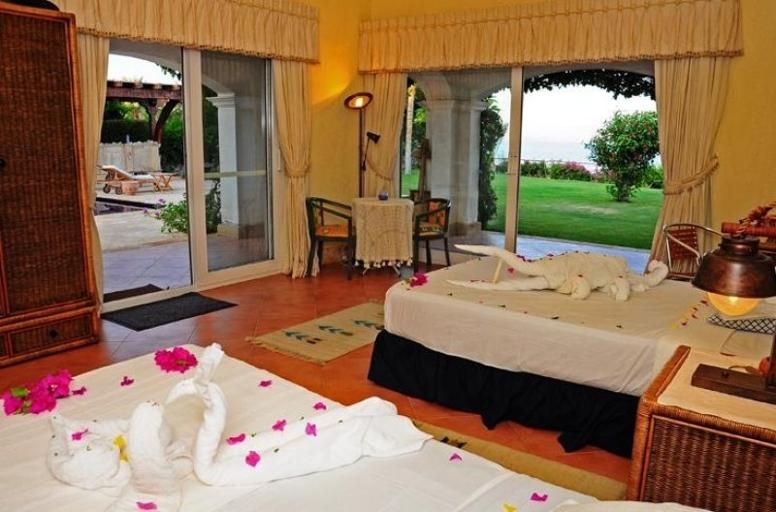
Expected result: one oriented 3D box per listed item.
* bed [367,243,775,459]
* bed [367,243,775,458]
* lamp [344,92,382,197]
[{"bbox_3d":[0.972,0.634,3.661,1.588,0.604,1.613,10,16,34],"label":"bed"},{"bbox_3d":[0.922,0.640,3.663,1.590,0.590,1.611,10,16,35],"label":"bed"},{"bbox_3d":[-0.402,-1.520,7.145,0.450,1.409,0.493,11,17,35],"label":"lamp"}]
